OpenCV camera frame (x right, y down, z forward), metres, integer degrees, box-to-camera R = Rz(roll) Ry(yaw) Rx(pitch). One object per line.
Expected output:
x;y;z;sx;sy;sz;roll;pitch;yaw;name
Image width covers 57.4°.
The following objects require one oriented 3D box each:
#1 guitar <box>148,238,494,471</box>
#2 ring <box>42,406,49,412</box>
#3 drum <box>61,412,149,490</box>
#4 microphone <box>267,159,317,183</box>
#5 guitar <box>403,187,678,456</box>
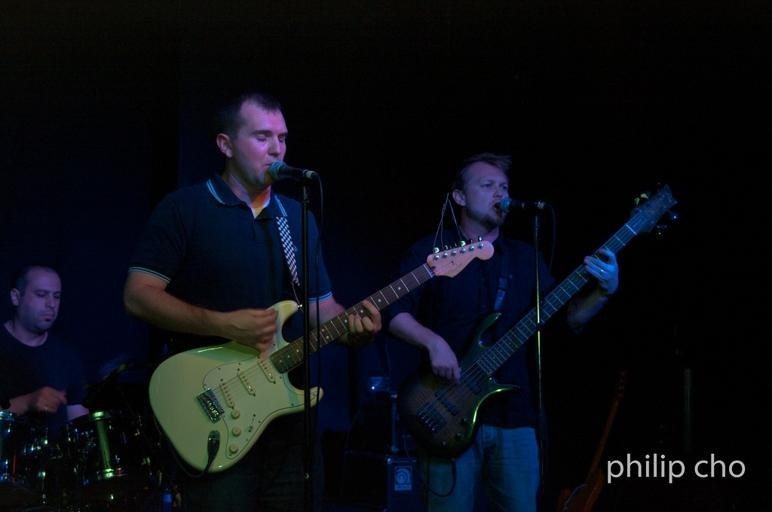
-0.379;0.627;4.282;1.687;0.556;0.243;-31;-3;-16;guitar
-2.427;1.086;5.028;0.037;0.037;0.009;-1;4;-16;ring
-1.739;1.205;4.463;0.506;0.456;0.464;-5;-32;-19;drum
-0.510;-0.469;4.011;0.411;0.129;0.125;8;34;40;microphone
0.793;0.456;4.256;0.228;0.603;2.303;-27;-20;-53;guitar
